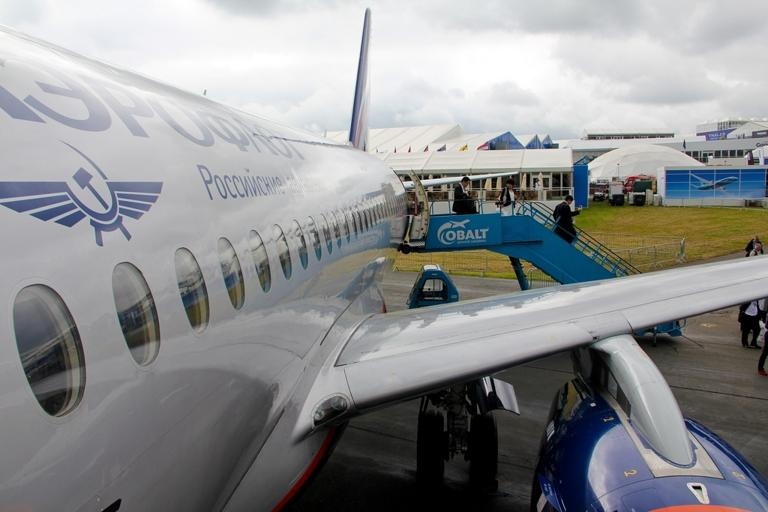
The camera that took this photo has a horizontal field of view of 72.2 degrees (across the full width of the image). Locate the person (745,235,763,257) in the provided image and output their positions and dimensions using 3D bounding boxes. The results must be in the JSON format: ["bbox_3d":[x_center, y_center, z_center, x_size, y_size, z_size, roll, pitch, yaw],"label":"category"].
[{"bbox_3d":[17.524,-0.510,24.950,0.465,0.612,1.260,29,11,27],"label":"person"}]
